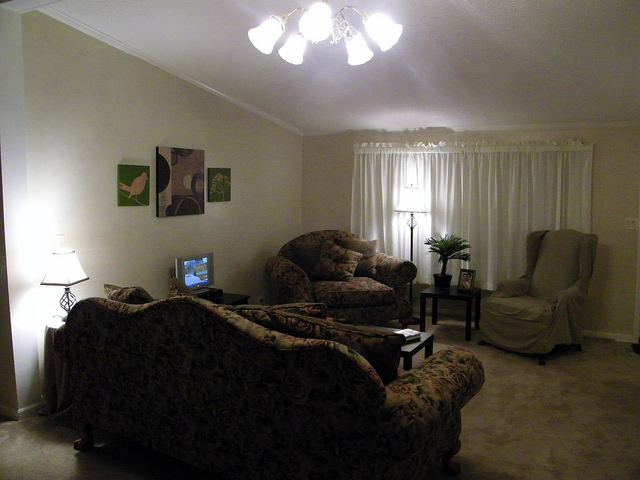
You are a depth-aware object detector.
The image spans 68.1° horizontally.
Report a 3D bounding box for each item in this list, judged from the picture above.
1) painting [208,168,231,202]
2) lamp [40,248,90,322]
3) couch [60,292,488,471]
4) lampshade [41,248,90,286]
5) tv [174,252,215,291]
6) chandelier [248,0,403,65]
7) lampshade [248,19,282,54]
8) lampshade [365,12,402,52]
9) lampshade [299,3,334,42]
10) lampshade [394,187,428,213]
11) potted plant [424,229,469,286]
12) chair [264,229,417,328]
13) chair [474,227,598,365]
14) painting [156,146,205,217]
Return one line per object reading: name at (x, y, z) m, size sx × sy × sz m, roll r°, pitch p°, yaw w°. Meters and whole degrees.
painting at (-1.105, -0.596, 5.127) m, size 0.043 × 0.358 × 0.390 m, roll 9°, pitch 11°, yaw 32°
lamp at (-1.947, 0.349, 3.641) m, size 0.345 × 0.541 × 0.353 m, roll 2°, pitch 10°, yaw 12°
couch at (-0.402, 0.811, 2.709) m, size 2.346 × 1.017 × 0.576 m, roll 3°, pitch 12°, yaw 14°
lampshade at (-1.914, 0.183, 3.615) m, size 0.288 × 0.376 × 0.282 m, roll 9°, pitch 13°, yaw 42°
tv at (-1.294, 0.318, 4.607) m, size 0.257 × 0.349 × 0.480 m, roll 3°, pitch 7°, yaw 32°
chandelier at (0.045, -1.441, 3.318) m, size 0.662 × 0.209 × 0.571 m, roll 0°, pitch -14°, yaw -2°
lampshade at (-0.378, -1.422, 3.307) m, size 0.212 × 0.226 × 0.213 m, roll 37°, pitch 16°, yaw -29°
lampshade at (0.429, -1.438, 3.279) m, size 0.206 × 0.190 × 0.171 m, roll -5°, pitch 12°, yaw -25°
lampshade at (-0.029, -1.465, 3.181) m, size 0.179 × 0.202 × 0.242 m, roll -10°, pitch 15°, yaw -42°
lampshade at (1.098, -0.481, 5.718) m, size 0.327 × 0.254 × 0.312 m, roll 1°, pitch 6°, yaw 18°
potted plant at (1.466, 0.204, 5.803) m, size 0.698 × 0.648 × 0.640 m, roll 0°, pitch 6°, yaw 4°
chair at (0.238, 0.416, 5.441) m, size 1.644 × 0.976 × 1.129 m, roll 0°, pitch -2°, yaw -14°
chair at (2.254, 0.530, 4.909) m, size 0.924 × 1.191 × 1.038 m, roll 9°, pitch 14°, yaw 38°
painting at (-1.398, -0.579, 4.650) m, size 0.089 × 0.767 × 0.738 m, roll 4°, pitch 8°, yaw 31°
